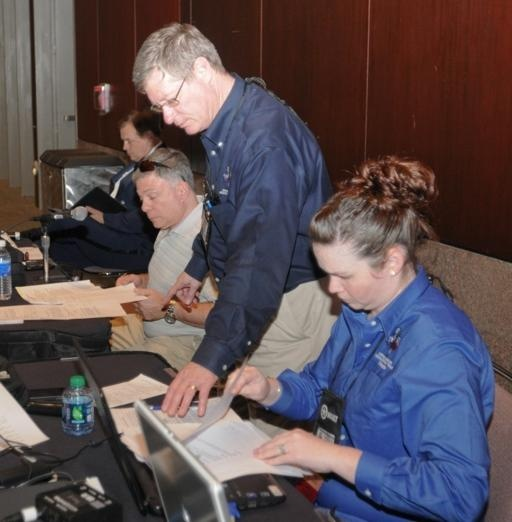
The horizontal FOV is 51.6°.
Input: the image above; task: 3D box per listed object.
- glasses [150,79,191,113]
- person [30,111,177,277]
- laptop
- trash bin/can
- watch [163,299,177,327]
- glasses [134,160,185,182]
[{"bbox_3d":[-0.259,-0.503,1.629,0.029,0.088,0.091,23,-8,-24],"label":"glasses"},{"bbox_3d":[-1.249,-0.339,4.214,1.109,1.570,0.752,5,17,-7],"label":"person"},{"bbox_3d":[-0.205,0.337,1.134,0.214,0.185,0.555,-15,15,-18],"label":"laptop"},{"bbox_3d":[-1.774,-0.842,5.395,0.638,0.630,0.966,-5,13,-22],"label":"trash bin/can"},{"bbox_3d":[-0.374,0.227,2.331,0.073,0.098,0.107,7,31,1],"label":"watch"},{"bbox_3d":[-0.492,-0.466,2.684,0.195,0.052,0.148,16,-2,-24],"label":"glasses"}]
